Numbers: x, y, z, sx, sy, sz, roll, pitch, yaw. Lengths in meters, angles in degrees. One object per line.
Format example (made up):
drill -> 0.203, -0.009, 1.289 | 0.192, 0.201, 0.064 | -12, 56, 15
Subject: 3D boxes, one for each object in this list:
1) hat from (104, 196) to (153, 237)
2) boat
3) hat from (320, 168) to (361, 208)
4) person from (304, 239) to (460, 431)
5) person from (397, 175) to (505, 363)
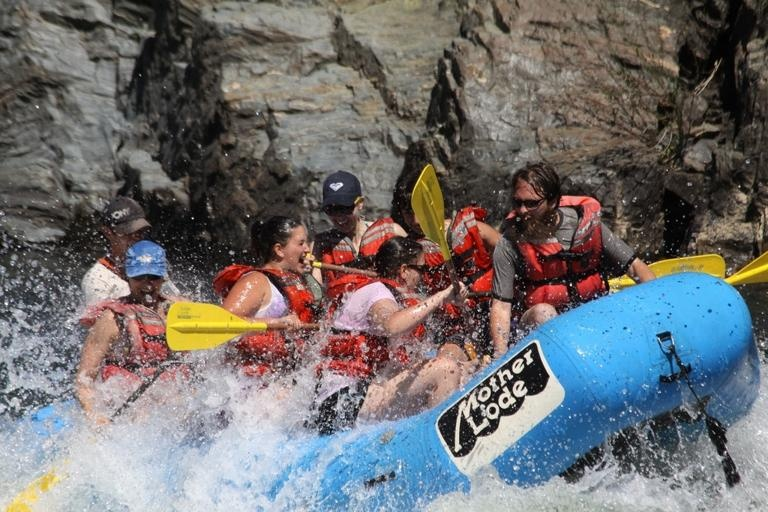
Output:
hat -> -2.432, -0.365, 8.502 | 0.398, 0.255, 0.285 | 7, 20, 35
boat -> 0.976, 1.241, 7.321 | 3.710, 0.992, 1.799 | -23, -10, 14
hat -> -0.402, -0.619, 8.533 | 0.264, 0.231, 0.388 | 0, 9, 13
person -> -0.003, 0.739, 7.634 | 0.977, 1.748, 0.753 | -11, 29, -18
person -> 0.691, 0.166, 8.371 | 0.986, 1.629, 0.471 | 13, 20, 14
